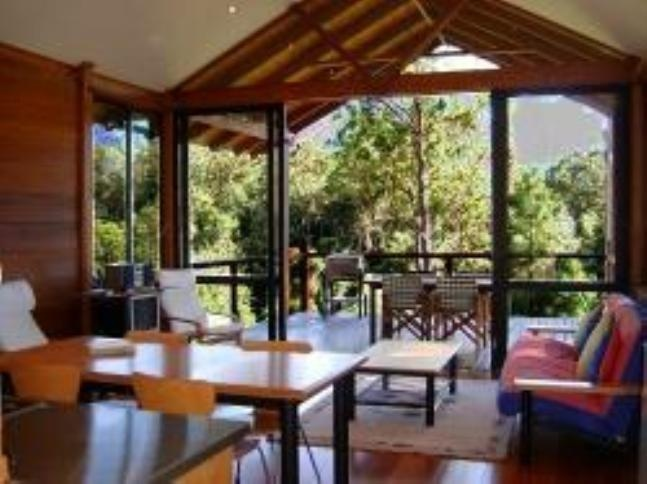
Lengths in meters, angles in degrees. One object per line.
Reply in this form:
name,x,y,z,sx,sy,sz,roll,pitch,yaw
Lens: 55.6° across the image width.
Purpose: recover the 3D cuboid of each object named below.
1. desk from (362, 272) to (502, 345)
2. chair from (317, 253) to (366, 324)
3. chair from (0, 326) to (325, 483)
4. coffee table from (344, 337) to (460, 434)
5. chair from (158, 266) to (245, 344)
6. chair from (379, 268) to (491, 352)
desk,1.545,0.654,7.465,0.928,0.875,1.204,-1,12,2
chair,0.310,0.665,9.691,0.700,0.918,0.660,-1,3,0
chair,-0.735,0.953,3.294,1.695,0.775,1.003,1,3,25
coffee table,0.665,1.312,4.989,0.671,0.418,1.112,0,2,15
chair,-1.314,0.797,6.569,0.818,0.983,0.824,1,3,12
chair,1.256,0.763,7.108,1.250,0.873,0.539,0,3,15
